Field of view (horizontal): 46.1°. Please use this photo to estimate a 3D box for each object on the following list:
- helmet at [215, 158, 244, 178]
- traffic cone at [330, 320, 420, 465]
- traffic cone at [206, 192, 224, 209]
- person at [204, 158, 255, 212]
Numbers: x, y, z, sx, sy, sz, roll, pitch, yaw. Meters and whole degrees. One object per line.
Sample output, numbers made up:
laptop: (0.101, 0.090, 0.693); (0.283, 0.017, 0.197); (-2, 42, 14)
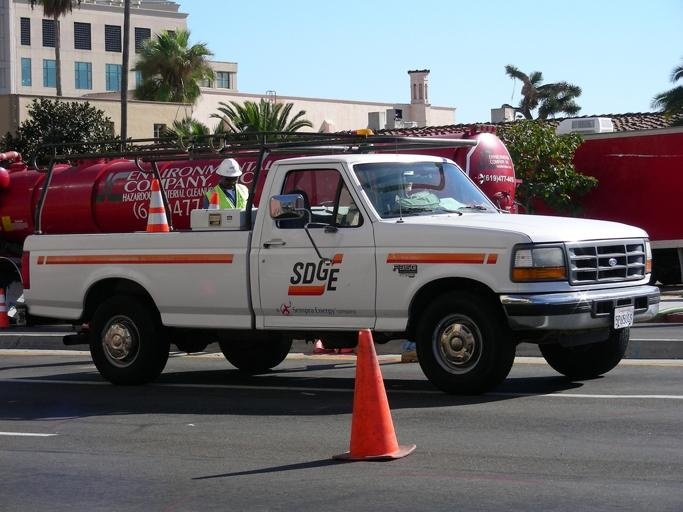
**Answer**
helmet: (-1.562, -1.196, 11.142); (0.349, 0.251, 0.486); (2, -1, -13)
traffic cone: (0.260, 1.105, 6.538); (0.654, 0.994, 0.485); (-2, 1, 6)
traffic cone: (-1.673, -0.723, 10.406); (0.222, 0.242, 0.225); (2, 3, 30)
person: (-1.556, -0.927, 11.197); (0.785, 0.863, 0.513); (-3, 3, -31)
